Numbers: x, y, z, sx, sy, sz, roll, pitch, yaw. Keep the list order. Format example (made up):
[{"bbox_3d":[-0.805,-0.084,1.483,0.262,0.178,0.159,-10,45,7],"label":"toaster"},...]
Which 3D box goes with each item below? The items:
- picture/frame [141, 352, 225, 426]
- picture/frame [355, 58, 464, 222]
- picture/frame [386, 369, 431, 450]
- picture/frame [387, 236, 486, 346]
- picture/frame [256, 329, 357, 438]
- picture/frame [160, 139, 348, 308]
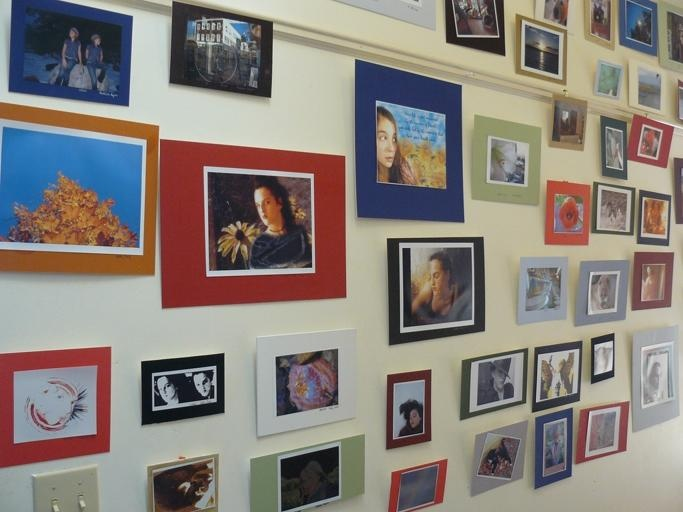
[{"bbox_3d":[-0.419,0.339,1.461,0.168,0.153,0.004,-1,-1,-27],"label":"picture/frame"},{"bbox_3d":[0.187,-0.340,1.693,0.418,0.545,0.006,-3,3,-34],"label":"picture/frame"},{"bbox_3d":[0.194,0.455,1.710,0.218,0.332,0.015,-1,1,-34],"label":"picture/frame"},{"bbox_3d":[0.276,0.103,1.741,0.286,0.288,0.012,-3,2,-31],"label":"picture/frame"},{"bbox_3d":[-0.111,0.348,1.574,0.269,0.260,0.012,-2,1,-30],"label":"picture/frame"},{"bbox_3d":[-0.256,-0.086,1.516,0.402,0.380,0.006,0,-2,-27],"label":"picture/frame"}]
